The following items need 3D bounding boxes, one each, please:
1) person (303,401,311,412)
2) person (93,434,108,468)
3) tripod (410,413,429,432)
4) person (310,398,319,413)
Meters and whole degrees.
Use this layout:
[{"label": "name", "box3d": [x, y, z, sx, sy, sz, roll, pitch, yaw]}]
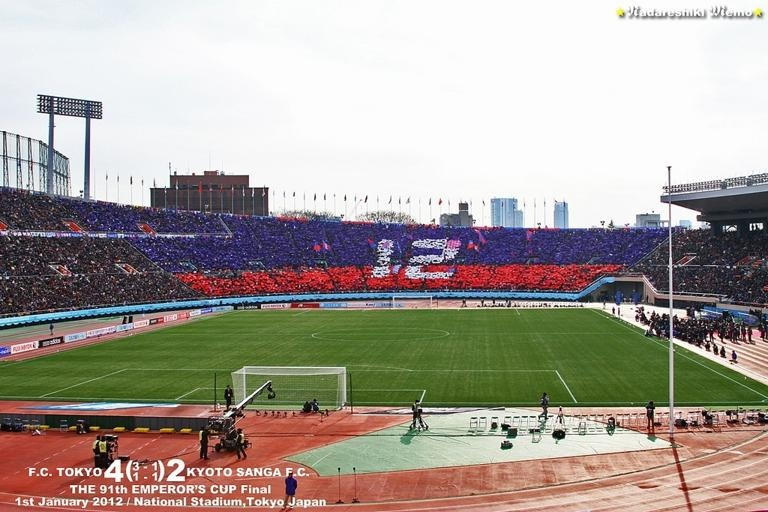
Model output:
[{"label": "person", "box3d": [-6.057, 12.239, 64.091, 0.891, 0.707, 0.479, 2, 4, 17]}, {"label": "person", "box3d": [-19.632, 13.910, 56.137, 1.085, 2.081, 0.664, 1, 4, 32]}, {"label": "tripod", "box3d": [2.915, 12.608, 61.007, 1.692, 1.213, 1.441, -2, 3, -17]}, {"label": "person", "box3d": [-5.399, 12.201, 64.462, 0.640, 0.819, 1.341, -1, 3, -4]}]
